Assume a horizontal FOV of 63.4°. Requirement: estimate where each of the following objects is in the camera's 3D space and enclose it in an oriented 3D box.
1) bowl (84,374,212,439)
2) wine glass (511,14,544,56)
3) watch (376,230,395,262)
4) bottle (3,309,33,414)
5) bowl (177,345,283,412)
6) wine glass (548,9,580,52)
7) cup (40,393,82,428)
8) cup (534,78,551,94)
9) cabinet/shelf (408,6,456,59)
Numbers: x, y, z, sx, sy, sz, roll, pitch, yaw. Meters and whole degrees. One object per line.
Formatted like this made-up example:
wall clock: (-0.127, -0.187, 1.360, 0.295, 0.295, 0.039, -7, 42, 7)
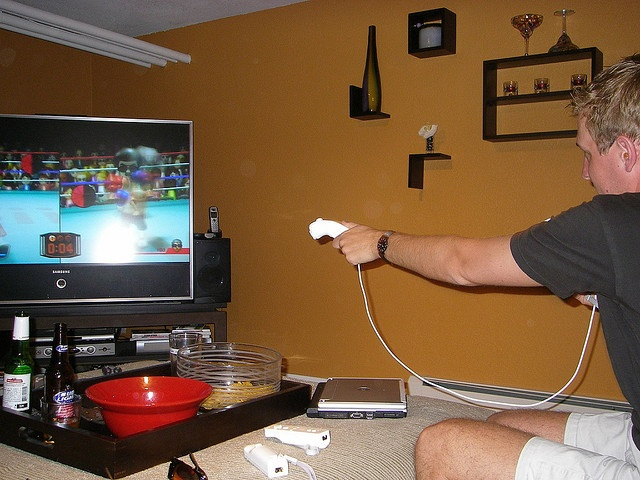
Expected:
bowl: (-0.454, 0.451, 1.401, 0.312, 0.109, 0.288, -1, 3, 0)
wine glass: (1.124, -1.123, 2.809, 0.161, 0.257, 0.226, 1, 4, 22)
watch: (0.209, 0.012, 1.666, 0.022, 0.080, 0.081, 9, 48, 22)
bottle: (-0.848, 0.349, 1.457, 0.078, 0.264, 0.243, -3, 4, -31)
bowl: (-0.255, 0.396, 1.553, 0.205, 0.090, 0.192, 1, 2, 0)
wine glass: (1.281, -1.093, 2.733, 0.135, 0.252, 0.198, 1, 4, 26)
cup: (-0.698, 0.446, 1.422, 0.092, 0.107, 0.094, 2, 3, 0)
cup: (1.166, -0.814, 2.731, 0.079, 0.094, 0.081, -1, 7, 0)
cabinet/shelf: (0.670, -1.216, 3.019, 0.299, 0.244, 0.168, -1, 4, -8)
